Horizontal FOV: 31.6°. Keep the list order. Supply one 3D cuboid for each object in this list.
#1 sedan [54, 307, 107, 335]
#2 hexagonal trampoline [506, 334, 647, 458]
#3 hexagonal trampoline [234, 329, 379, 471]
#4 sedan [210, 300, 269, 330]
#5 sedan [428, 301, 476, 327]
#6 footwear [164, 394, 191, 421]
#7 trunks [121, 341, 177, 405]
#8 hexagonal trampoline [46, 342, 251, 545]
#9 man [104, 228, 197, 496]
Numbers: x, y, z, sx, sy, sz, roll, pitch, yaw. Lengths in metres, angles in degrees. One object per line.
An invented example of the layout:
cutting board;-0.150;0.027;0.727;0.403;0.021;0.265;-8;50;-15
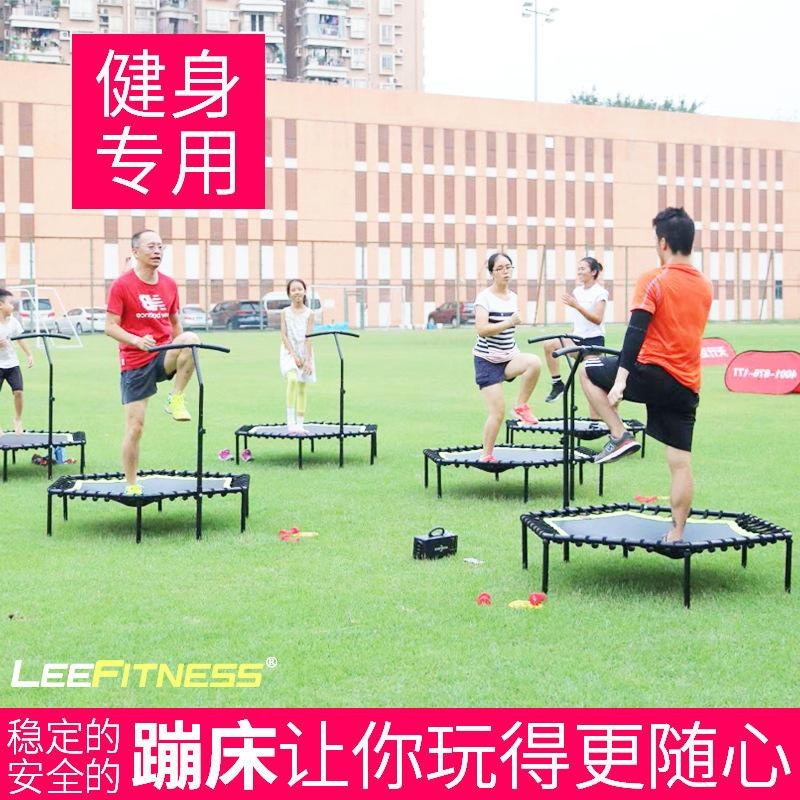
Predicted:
sedan;-9.544;-2.352;43.344;0.923;0.795;2.154;-1;8;-24
hexagonal trampoline;1.373;0.054;10.908;0.965;1.039;0.736;0;4;44
hexagonal trampoline;-0.674;-0.023;11.648;1.006;1.100;1.101;-2;3;-33
sedan;-5.497;-2.817;47.732;1.669;0.912;0.742;2;7;22
sedan;1.958;-3.105;52.424;0.866;0.850;1.866;-2;7;-26
footwear;-1.425;0.062;9.216;0.129;0.184;0.369;-1;11;-26
trunks;-1.514;-0.136;8.567;0.353;0.323;0.275;-4;7;-28
hexagonal trampoline;-1.535;0.211;8.754;1.107;1.223;1.099;4;6;17
man;-1.520;-0.238;8.685;0.527;1.579;0.927;-2;6;-11
